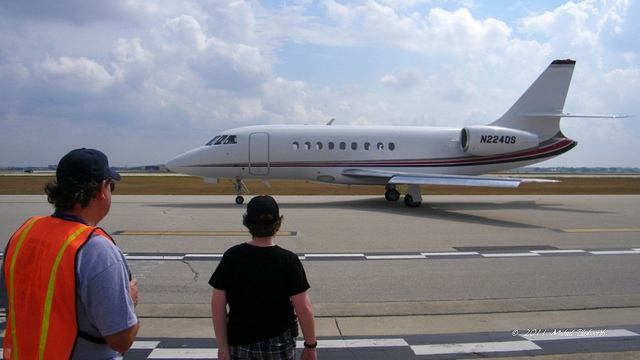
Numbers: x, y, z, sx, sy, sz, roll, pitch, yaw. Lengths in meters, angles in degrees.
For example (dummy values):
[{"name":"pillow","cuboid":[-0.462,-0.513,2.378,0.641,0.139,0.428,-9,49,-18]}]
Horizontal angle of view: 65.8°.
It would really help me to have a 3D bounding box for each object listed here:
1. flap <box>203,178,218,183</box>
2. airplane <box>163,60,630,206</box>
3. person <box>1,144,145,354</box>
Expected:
[{"name":"flap","cuboid":[-5.123,0.011,23.172,0.501,0.256,0.236,0,0,-4]},{"name":"airplane","cuboid":[3.790,-2.686,23.531,16.979,6.484,4.415,0,6,-18]},{"name":"person","cuboid":[-3.313,0.943,6.581,1.770,2.731,0.828,4,6,16]}]
